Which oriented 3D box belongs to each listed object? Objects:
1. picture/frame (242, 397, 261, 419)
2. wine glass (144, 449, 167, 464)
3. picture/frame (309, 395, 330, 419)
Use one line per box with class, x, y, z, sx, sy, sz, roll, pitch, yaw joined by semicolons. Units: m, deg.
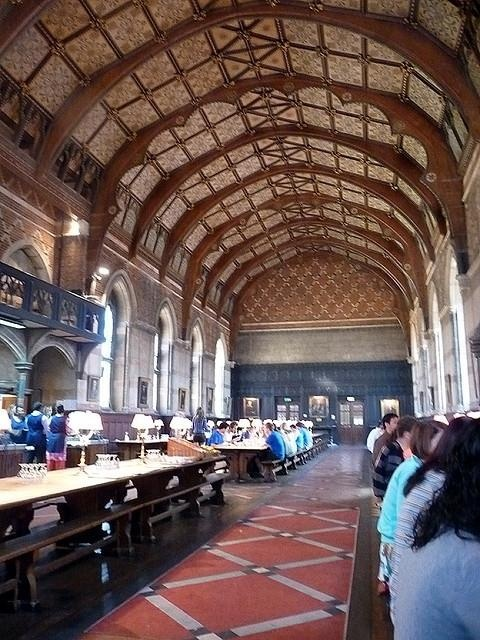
picture/frame;0.669;6.217;29.411;1.453;1.615;0.274;0;-7;11
wine glass;-1.516;2.423;7.466;0.224;0.104;0.293;-1;-11;18
picture/frame;5.225;5.978;28.676;1.568;1.743;0.304;-2;-14;12
